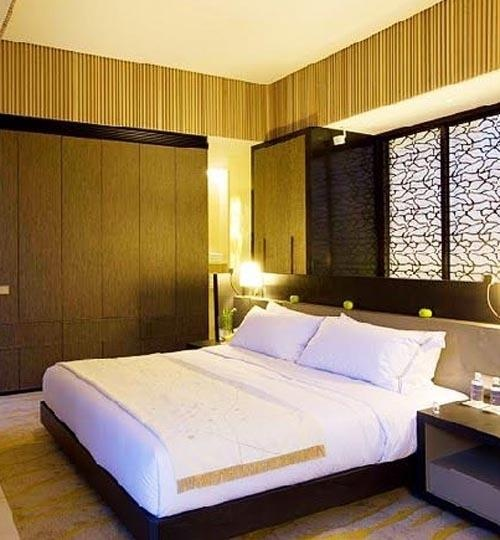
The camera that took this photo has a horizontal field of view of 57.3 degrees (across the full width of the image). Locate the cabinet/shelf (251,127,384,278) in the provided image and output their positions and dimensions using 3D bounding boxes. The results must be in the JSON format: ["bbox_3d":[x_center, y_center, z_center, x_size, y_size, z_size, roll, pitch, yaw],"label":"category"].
[{"bbox_3d":[0.705,-0.689,4.802,1.435,1.488,0.711,0,4,14],"label":"cabinet/shelf"}]
